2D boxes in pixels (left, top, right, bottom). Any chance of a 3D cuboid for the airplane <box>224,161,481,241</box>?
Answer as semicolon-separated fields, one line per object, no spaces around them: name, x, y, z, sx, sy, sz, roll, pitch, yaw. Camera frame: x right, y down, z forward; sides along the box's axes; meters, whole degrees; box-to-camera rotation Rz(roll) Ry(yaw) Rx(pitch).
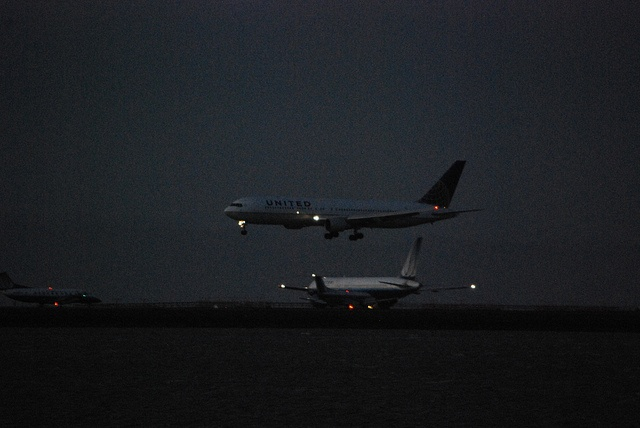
airplane;1.826;-0.098;106.337;16.049;4.802;13.197;4;-5;-32
